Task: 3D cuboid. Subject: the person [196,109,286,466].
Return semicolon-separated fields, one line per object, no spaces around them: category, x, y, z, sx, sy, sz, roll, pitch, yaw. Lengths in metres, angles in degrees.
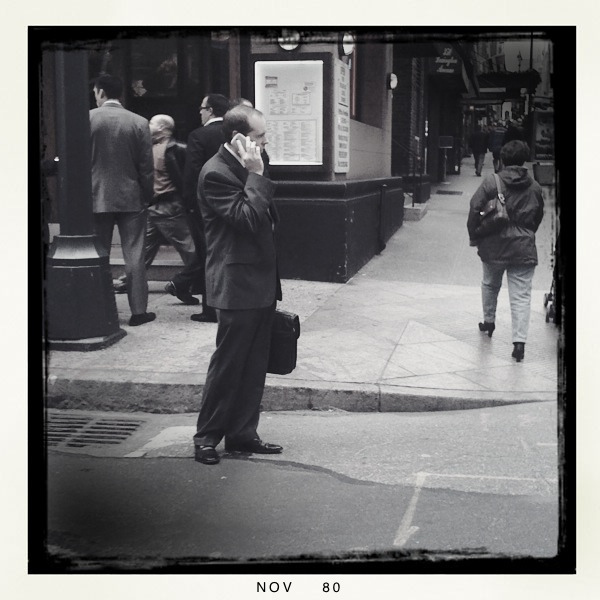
person;-0.379;-0.065;5.466;0.579;2.236;0.513;-1;13;-5

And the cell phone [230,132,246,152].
cell phone;-0.378;-0.988;5.352;0.054;0.110;0.173;-7;17;-30

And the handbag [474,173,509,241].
handbag;1.769;-0.836;7.844;0.153;0.680;0.441;-2;-9;-27

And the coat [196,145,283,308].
coat;-0.371;-0.451;5.406;0.529;1.002;0.503;-1;13;-8

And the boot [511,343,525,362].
boot;1.965;0.468;7.694;0.088;0.169;0.044;3;13;10

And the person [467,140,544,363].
person;1.933;-0.473;7.910;0.522;1.934;0.751;-9;16;-37

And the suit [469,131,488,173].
suit;4.782;-4.049;22.840;0.488;1.379;0.461;7;32;22

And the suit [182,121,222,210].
suit;-0.858;-1.336;8.091;0.269;0.810;0.517;21;39;22

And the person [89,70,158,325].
person;-1.651;-0.807;8.045;0.552;2.070;0.381;-1;13;-9

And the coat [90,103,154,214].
coat;-1.650;-1.317;7.975;0.562;1.000;0.268;-2;13;-12

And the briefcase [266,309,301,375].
briefcase;-0.109;0.287;5.807;0.168;0.385;0.339;-2;6;-32
